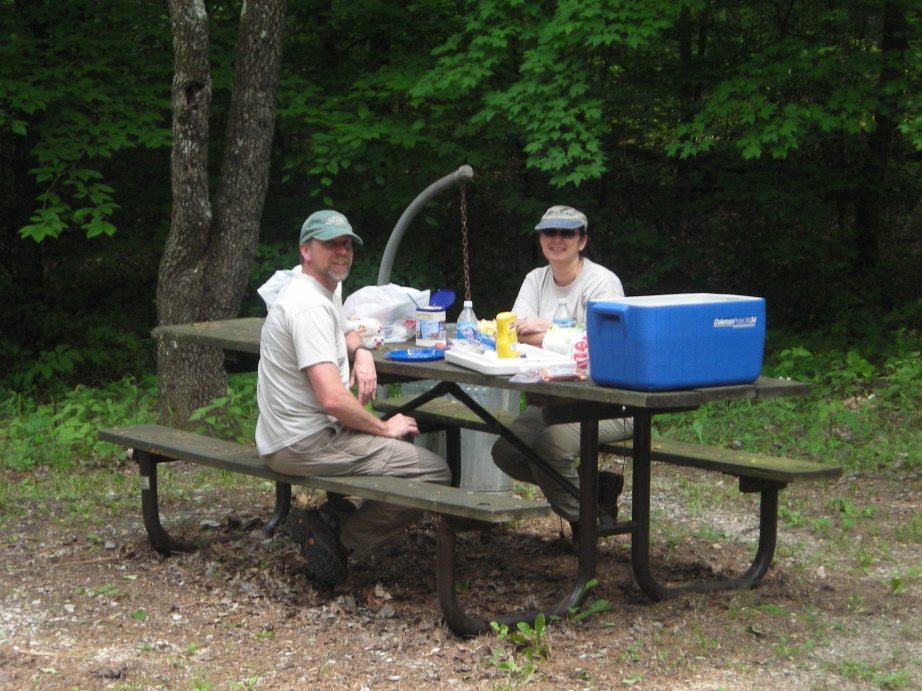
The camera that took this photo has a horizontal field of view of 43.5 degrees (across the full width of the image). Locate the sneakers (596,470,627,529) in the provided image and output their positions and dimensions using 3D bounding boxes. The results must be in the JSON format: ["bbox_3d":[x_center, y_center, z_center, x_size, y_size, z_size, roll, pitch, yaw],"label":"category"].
[{"bbox_3d":[0.933,0.961,7.322,0.199,0.293,0.191,3,-29,-2],"label":"sneakers"}]

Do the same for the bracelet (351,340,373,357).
[{"bbox_3d":[-0.654,0.014,7.731,0.099,0.068,0.097,0,-2,25],"label":"bracelet"}]

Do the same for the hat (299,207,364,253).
[{"bbox_3d":[-0.920,-0.752,7.534,0.366,0.170,0.273,-2,-3,44],"label":"hat"}]

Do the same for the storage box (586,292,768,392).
[{"bbox_3d":[1.231,-0.021,6.694,0.913,0.402,0.541,-1,1,-31],"label":"storage box"}]
